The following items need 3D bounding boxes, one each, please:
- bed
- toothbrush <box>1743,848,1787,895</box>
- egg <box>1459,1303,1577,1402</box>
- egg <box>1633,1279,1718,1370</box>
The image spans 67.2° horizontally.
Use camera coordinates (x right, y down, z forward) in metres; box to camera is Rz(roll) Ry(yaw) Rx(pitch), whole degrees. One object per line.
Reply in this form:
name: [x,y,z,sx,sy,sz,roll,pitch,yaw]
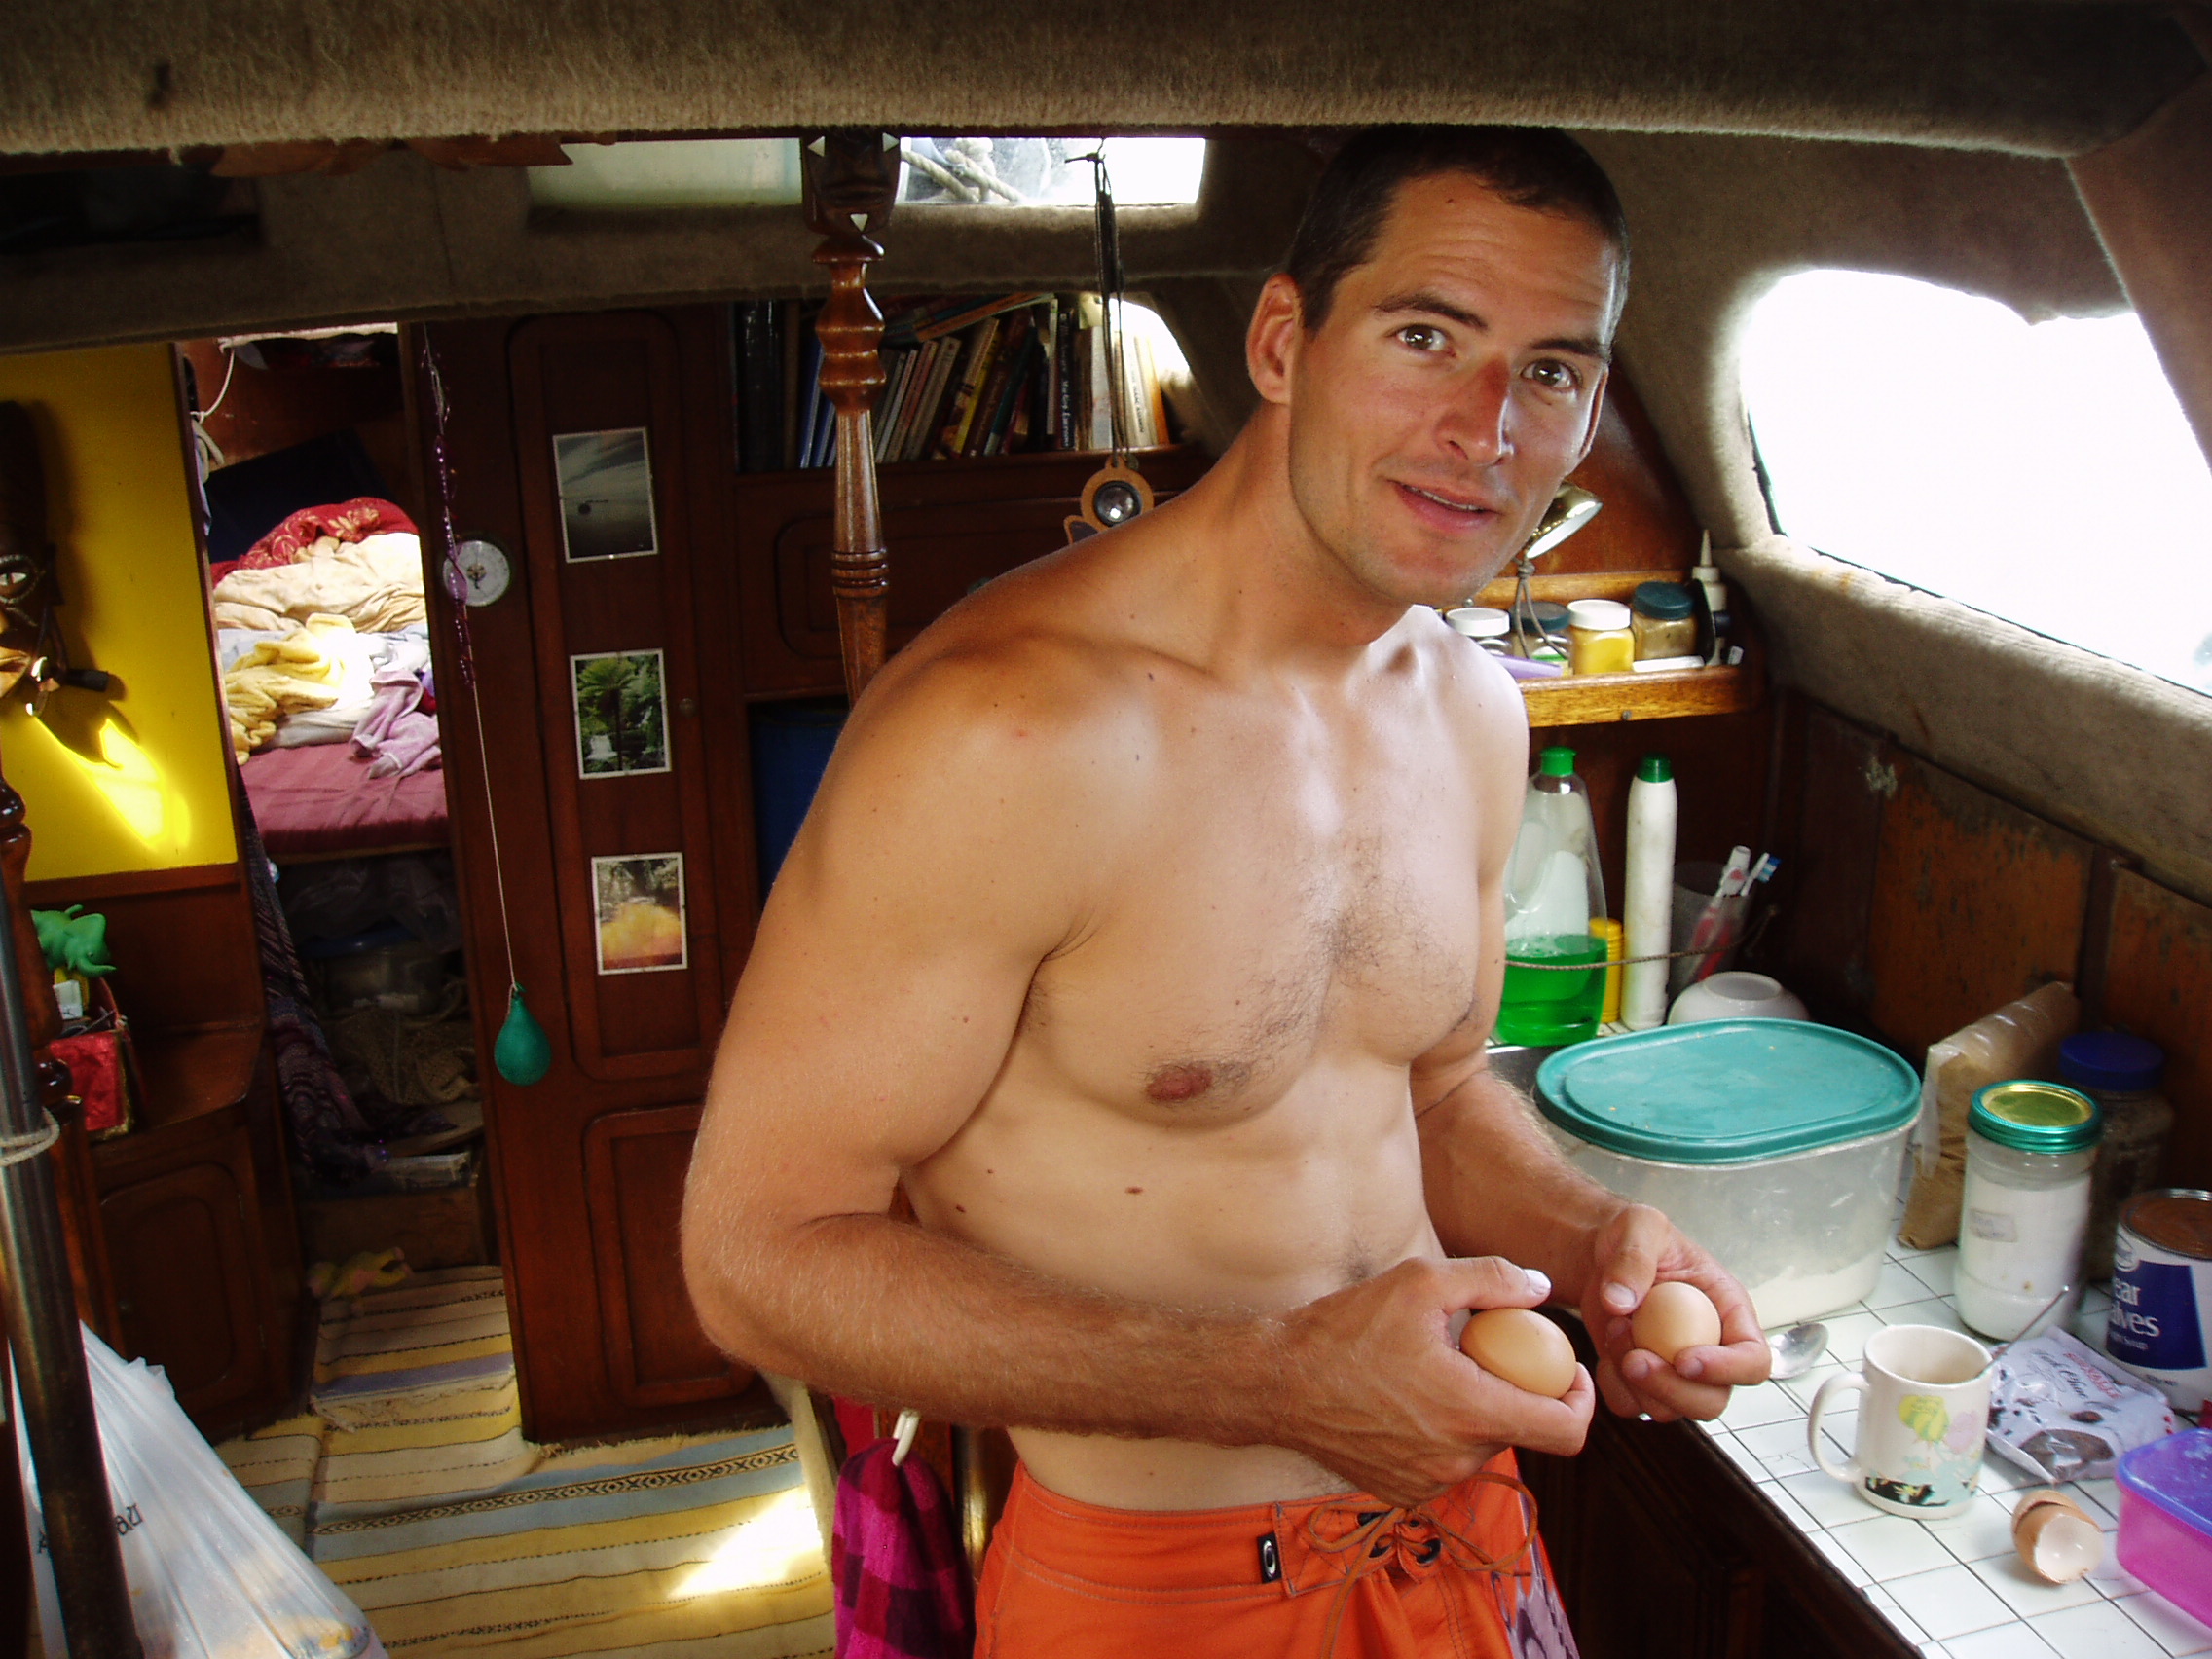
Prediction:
bed: [-2.605,-0.516,5.650,0.697,0.917,1.713,-7,13,-26]
toothbrush: [1.194,0.085,2.997,0.022,0.081,0.081,34,35,5]
egg: [0.369,0.474,1.527,0.104,0.075,0.078,6,54,-2]
egg: [0.565,0.488,1.638,0.069,0.083,0.070,-30,-17,37]
